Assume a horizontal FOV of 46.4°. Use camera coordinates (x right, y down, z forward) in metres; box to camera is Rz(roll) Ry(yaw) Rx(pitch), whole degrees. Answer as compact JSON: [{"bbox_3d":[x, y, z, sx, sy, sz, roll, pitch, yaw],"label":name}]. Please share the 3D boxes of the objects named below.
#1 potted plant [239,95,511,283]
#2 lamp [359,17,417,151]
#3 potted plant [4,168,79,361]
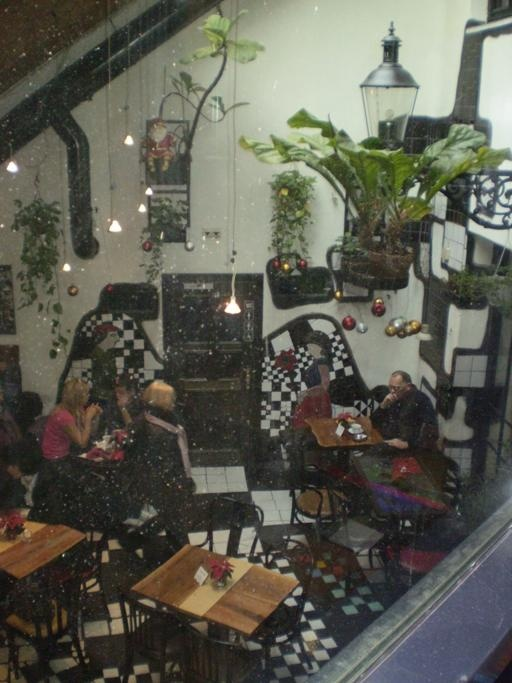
[{"bbox_3d":[0.302,-0.346,1.670,0.537,0.349,0.570,10,21,35],"label":"potted plant"},{"bbox_3d":[0.355,-0.657,1.570,0.133,0.259,0.294,-4,5,18],"label":"lamp"},{"bbox_3d":[-0.413,-0.139,1.166,0.100,0.349,0.098,-8,6,-29],"label":"potted plant"}]
